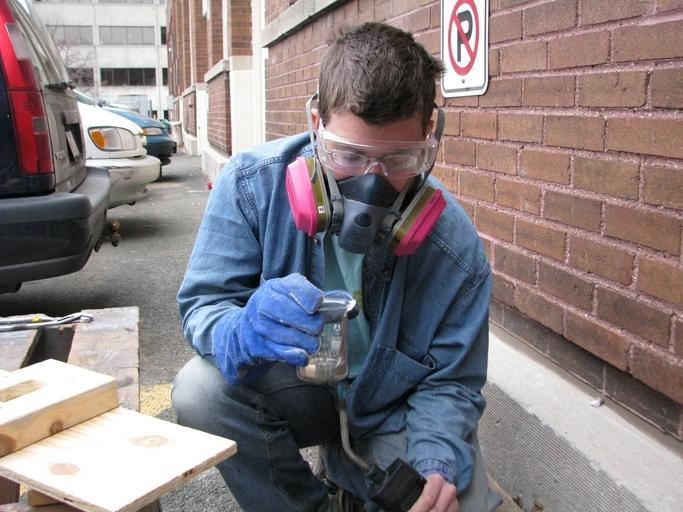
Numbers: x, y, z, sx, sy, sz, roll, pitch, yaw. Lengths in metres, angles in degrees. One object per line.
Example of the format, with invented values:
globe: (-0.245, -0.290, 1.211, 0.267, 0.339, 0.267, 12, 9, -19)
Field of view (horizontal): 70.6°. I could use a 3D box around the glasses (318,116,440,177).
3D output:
glasses: (0.115, -0.321, 1.495, 0.383, 0.148, 0.141, 0, 21, -2)
